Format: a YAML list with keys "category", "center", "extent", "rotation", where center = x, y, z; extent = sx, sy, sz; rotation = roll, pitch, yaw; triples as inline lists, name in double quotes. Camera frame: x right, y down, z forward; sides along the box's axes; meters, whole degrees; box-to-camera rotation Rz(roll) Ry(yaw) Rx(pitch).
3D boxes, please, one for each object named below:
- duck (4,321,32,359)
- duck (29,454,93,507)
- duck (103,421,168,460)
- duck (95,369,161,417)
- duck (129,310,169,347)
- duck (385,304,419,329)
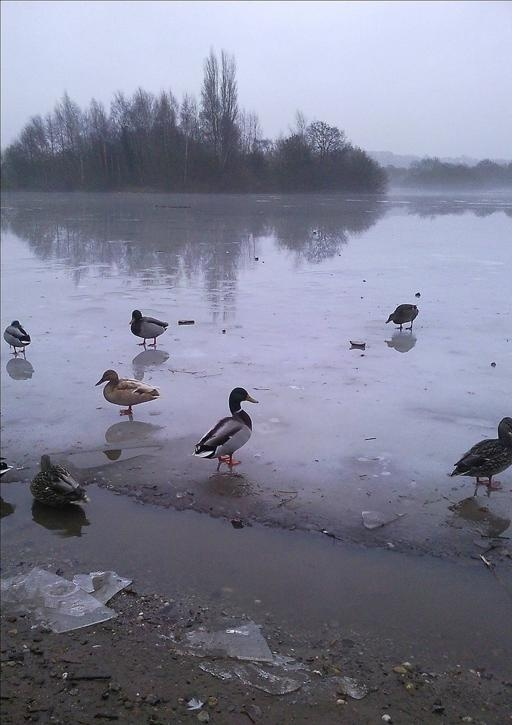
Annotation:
- category: "duck"
  center: [-3.404, -0.316, 9.992]
  extent: [0.347, 0.458, 0.678]
  rotation: [-6, 22, -22]
- category: "duck"
  center: [-1.637, 1.041, 5.779]
  extent: [0.528, 0.295, 0.341]
  rotation: [27, 19, 26]
- category: "duck"
  center: [-1.298, 0.774, 7.118]
  extent: [0.451, 0.351, 0.321]
  rotation: [5, 9, 3]
- category: "duck"
  center: [-1.373, 0.363, 7.773]
  extent: [0.828, 0.550, 0.387]
  rotation: [3, 1, -4]
- category: "duck"
  center: [-1.659, -0.567, 10.615]
  extent: [0.372, 0.525, 0.739]
  rotation: [3, 12, 20]
- category: "duck"
  center: [2.496, -0.784, 11.591]
  extent: [0.328, 0.392, 0.612]
  rotation: [-11, -1, -40]
